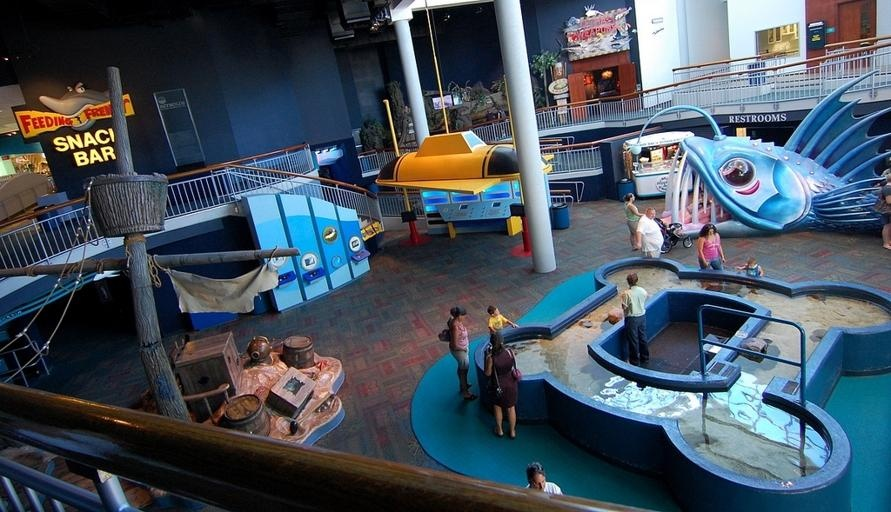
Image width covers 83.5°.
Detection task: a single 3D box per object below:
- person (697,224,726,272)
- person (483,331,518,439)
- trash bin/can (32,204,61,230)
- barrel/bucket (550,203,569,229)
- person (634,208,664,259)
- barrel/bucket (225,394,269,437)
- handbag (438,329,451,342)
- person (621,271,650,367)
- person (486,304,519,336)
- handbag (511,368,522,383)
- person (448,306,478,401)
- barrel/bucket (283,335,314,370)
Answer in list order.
[{"bbox_3d":[7.089,-0.232,13.286,0.633,1.230,0.368,-10,17,3],"label":"person"},{"bbox_3d":[1.241,2.697,10.503,0.727,2.408,0.432,-11,17,3],"label":"person"},{"bbox_3d":[-12.726,-1.221,15.923,0.689,0.712,0.699,27,39,36],"label":"trash bin/can"},{"bbox_3d":[4.411,-1.477,19.019,0.659,0.910,0.461,-8,17,10],"label":"barrel/bucket"},{"bbox_3d":[6.043,-0.602,14.773,0.615,1.664,0.949,-2,35,23],"label":"person"},{"bbox_3d":[-4.541,3.685,11.368,0.952,0.859,0.706,-6,17,12],"label":"barrel/bucket"},{"bbox_3d":[0.014,1.827,11.522,0.316,0.128,0.355,-2,9,1],"label":"handbag"},{"bbox_3d":[4.370,1.577,11.317,0.507,1.931,0.448,-9,17,9],"label":"person"},{"bbox_3d":[1.480,1.646,12.759,0.385,0.504,0.929,21,-3,27],"label":"person"},{"bbox_3d":[1.519,2.486,10.428,0.113,0.449,0.326,-5,17,20],"label":"handbag"},{"bbox_3d":[0.425,2.438,12.041,0.790,2.448,0.820,-8,42,3],"label":"person"},{"bbox_3d":[-4.008,2.525,13.331,0.829,0.695,0.823,-2,8,0],"label":"barrel/bucket"}]
